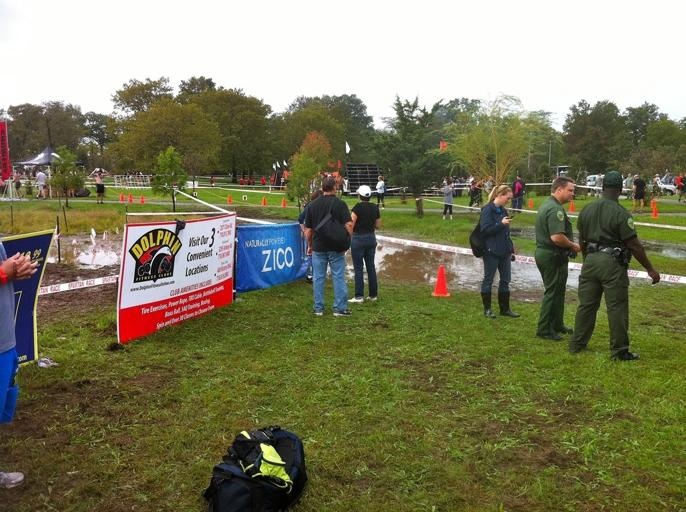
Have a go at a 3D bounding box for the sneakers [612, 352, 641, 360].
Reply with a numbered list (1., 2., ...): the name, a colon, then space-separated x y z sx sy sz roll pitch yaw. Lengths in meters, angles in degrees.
1. sneakers: 3.861 1.356 7.782 0.375 0.125 0.119 -1 10 -12

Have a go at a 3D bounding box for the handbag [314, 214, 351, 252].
1. handbag: -0.191 -0.415 9.780 0.437 0.466 0.242 -36 12 -7

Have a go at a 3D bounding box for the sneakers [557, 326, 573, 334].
1. sneakers: 3.510 1.162 9.018 0.290 0.142 0.119 -1 18 3

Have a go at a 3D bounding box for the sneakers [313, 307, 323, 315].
1. sneakers: -0.432 0.968 10.033 0.086 0.114 0.175 0 11 -16

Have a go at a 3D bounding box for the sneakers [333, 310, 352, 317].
1. sneakers: -0.005 1.009 9.929 0.318 0.145 0.121 1 2 -7

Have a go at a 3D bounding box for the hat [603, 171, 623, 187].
1. hat: 3.764 -1.114 7.952 0.209 0.172 0.312 5 28 28

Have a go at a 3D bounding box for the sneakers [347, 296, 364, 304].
1. sneakers: 0.231 0.842 10.937 0.285 0.132 0.118 3 1 34

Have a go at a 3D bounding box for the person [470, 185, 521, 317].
1. person: 2.588 -0.060 9.790 0.777 2.277 0.388 3 9 14
